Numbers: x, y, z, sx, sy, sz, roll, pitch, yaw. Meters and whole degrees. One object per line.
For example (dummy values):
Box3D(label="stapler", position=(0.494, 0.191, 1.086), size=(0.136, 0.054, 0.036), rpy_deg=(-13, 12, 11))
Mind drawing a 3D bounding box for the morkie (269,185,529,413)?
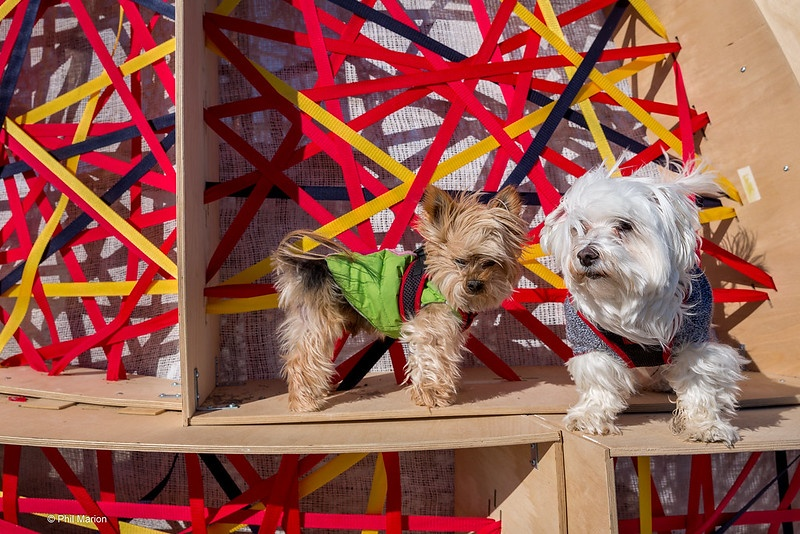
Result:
Box3D(label="morkie", position=(0.073, 0.164, 5.161), size=(1.629, 1.223, 0.802), rpy_deg=(-2, 7, 21))
